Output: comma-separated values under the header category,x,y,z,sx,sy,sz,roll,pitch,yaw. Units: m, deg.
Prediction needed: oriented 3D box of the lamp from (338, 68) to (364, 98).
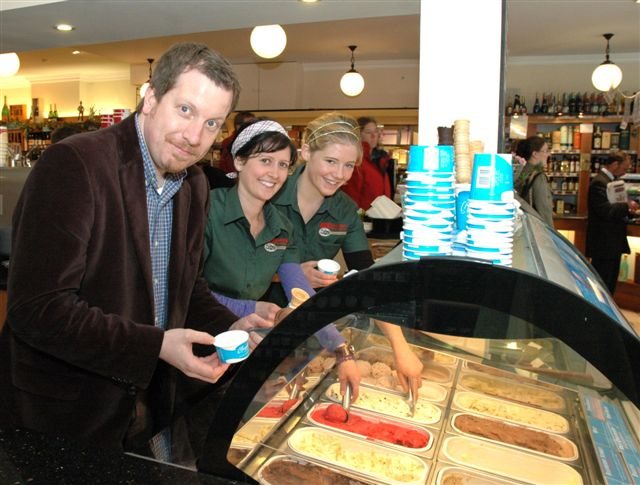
category,x,y,z,sx,sy,sz,roll,pitch,yaw
lamp,0.467,-2.293,6.349,0.281,0.366,0.290,3,12,15

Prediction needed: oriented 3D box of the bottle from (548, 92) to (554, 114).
category,x,y,z,sx,sy,sz,roll,pitch,yaw
bottle,3.508,-2.091,6.709,0.072,0.292,0.124,7,14,28

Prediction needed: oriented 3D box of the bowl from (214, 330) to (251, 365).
category,x,y,z,sx,sy,sz,roll,pitch,yaw
bowl,-0.207,0.244,1.036,0.093,0.049,0.088,-3,13,1

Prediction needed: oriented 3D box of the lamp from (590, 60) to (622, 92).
category,x,y,z,sx,sy,sz,roll,pitch,yaw
lamp,3.617,-2.108,5.591,0.294,0.344,0.265,3,12,15

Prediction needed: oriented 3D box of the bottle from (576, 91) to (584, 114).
category,x,y,z,sx,sy,sz,roll,pitch,yaw
bottle,3.898,-2.067,6.630,0.139,0.289,0.083,1,12,3

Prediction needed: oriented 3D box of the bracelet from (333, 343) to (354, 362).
category,x,y,z,sx,sy,sz,roll,pitch,yaw
bracelet,0.044,0.206,0.848,0.038,0.034,0.037,1,-4,-23

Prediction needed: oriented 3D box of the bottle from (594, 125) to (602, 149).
category,x,y,z,sx,sy,sz,roll,pitch,yaw
bottle,4.237,-1.591,6.753,0.106,0.334,0.044,7,14,28

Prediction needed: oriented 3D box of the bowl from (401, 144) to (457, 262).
category,x,y,z,sx,sy,sz,roll,pitch,yaw
bowl,0.252,-0.091,1.027,0.118,0.257,0.126,0,12,0

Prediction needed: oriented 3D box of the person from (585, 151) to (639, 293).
category,x,y,z,sx,sy,sz,roll,pitch,yaw
person,3.538,-0.221,5.470,0.588,1.721,0.460,-10,15,-39

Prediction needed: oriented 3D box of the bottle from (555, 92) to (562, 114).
category,x,y,z,sx,sy,sz,roll,pitch,yaw
bottle,3.605,-2.069,6.679,0.103,0.282,0.100,0,12,0

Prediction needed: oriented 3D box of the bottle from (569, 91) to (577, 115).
category,x,y,z,sx,sy,sz,roll,pitch,yaw
bottle,3.801,-2.061,6.640,0.124,0.271,0.097,3,12,14

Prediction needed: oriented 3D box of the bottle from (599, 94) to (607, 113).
category,x,y,z,sx,sy,sz,roll,pitch,yaw
bottle,4.216,-2.058,6.595,0.100,0.258,0.080,10,15,38

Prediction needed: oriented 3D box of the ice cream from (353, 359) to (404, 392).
category,x,y,z,sx,sy,sz,roll,pitch,yaw
ice cream,0.110,0.252,0.843,0.056,0.073,0.024,11,53,41

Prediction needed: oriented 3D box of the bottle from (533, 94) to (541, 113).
category,x,y,z,sx,sy,sz,roll,pitch,yaw
bottle,3.324,-2.103,6.792,0.115,0.272,0.084,5,13,23

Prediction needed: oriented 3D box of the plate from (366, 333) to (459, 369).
category,x,y,z,sx,sy,sz,roll,pitch,yaw
plate,0.165,0.201,0.812,0.148,0.066,0.037,7,-13,0

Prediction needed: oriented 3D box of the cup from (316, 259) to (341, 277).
category,x,y,z,sx,sy,sz,roll,pitch,yaw
cup,0.034,0.121,1.898,0.085,0.058,0.080,11,31,-7

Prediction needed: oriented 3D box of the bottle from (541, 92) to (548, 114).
category,x,y,z,sx,sy,sz,roll,pitch,yaw
bottle,3.428,-2.096,6.741,0.116,0.285,0.127,0,12,0
